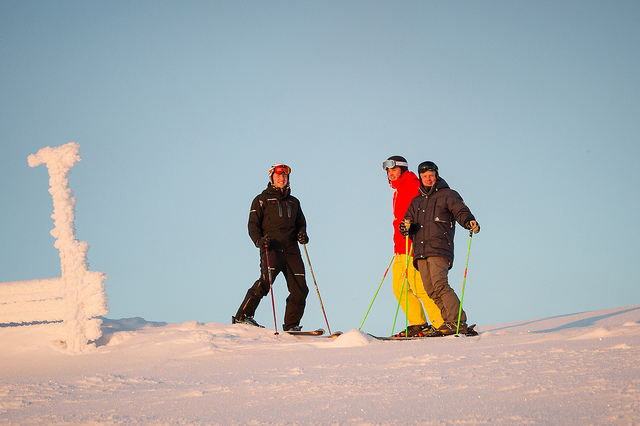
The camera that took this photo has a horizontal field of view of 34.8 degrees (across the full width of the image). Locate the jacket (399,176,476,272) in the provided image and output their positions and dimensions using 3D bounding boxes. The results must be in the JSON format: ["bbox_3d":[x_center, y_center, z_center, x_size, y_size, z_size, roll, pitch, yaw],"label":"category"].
[{"bbox_3d":[1.352,0.166,12.146,0.905,0.915,0.334,-11,-21,43],"label":"jacket"}]

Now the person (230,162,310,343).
[{"bbox_3d":[-0.620,0.468,13.875,0.939,2.224,0.677,-2,5,-7],"label":"person"}]

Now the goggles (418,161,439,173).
[{"bbox_3d":[1.343,-0.564,12.483,0.209,0.126,0.153,-3,6,-10],"label":"goggles"}]

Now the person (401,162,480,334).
[{"bbox_3d":[1.457,0.406,12.395,0.564,2.044,1.024,-6,7,-41],"label":"person"}]

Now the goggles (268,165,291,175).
[{"bbox_3d":[-0.504,-0.600,13.998,0.344,0.139,0.168,3,7,38],"label":"goggles"}]

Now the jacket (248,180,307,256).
[{"bbox_3d":[-0.581,0.105,13.350,0.790,1.209,0.442,2,-14,-20],"label":"jacket"}]

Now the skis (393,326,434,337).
[{"bbox_3d":[1.192,1.483,12.727,0.513,0.235,0.168,-2,-11,12],"label":"skis"}]
